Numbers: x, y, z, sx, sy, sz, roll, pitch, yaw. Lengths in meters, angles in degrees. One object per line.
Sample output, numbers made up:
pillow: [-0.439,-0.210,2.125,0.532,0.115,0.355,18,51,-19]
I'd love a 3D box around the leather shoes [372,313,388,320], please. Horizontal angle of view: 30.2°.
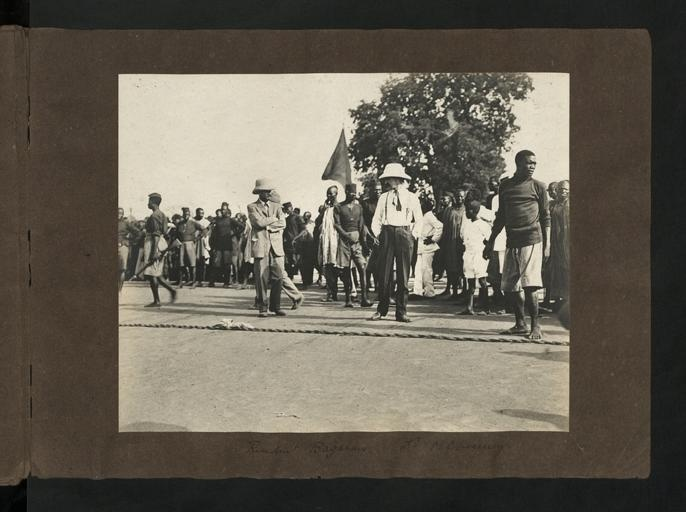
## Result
leather shoes: [0.329,0.516,10.819,0.112,0.045,0.058,4,7,-5]

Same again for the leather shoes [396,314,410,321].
leather shoes: [0.527,0.534,10.801,0.118,0.061,0.036,2,-1,-9]
